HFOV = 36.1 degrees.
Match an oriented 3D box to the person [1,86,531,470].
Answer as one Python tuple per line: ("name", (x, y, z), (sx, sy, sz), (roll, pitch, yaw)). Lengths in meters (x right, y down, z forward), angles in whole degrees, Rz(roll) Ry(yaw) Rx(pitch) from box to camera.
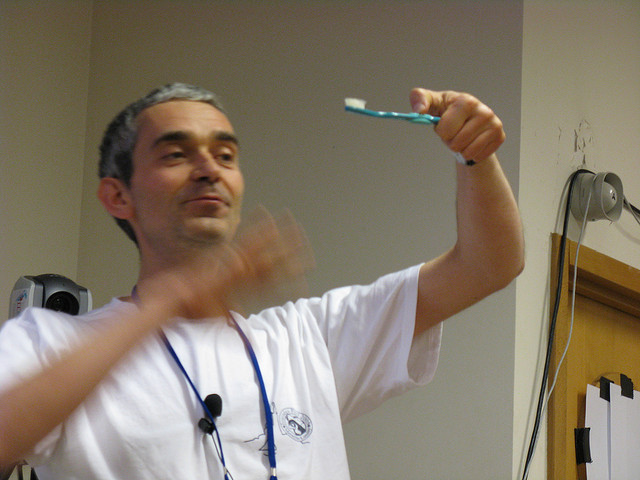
("person", (-0.175, 0.107, 2.829), (1.408, 0.859, 0.415), (-2, -1, -4))

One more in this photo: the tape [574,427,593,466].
("tape", (0.994, 0.786, 3.688), (0.046, 0.154, 0.096), (-4, -11, 30))

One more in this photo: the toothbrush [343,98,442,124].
("toothbrush", (0.191, -0.346, 2.695), (0.293, 0.059, 0.146), (-1, -2, -22))

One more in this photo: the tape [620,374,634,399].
("tape", (1.208, 0.582, 3.849), (0.063, 0.102, 0.011), (14, -28, -26))

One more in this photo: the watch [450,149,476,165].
("watch", (0.403, -0.241, 2.813), (0.040, 0.024, 0.053), (5, 6, -38))

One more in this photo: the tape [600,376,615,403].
("tape", (1.114, 0.586, 3.795), (0.061, 0.094, 0.009), (19, -23, -22))
